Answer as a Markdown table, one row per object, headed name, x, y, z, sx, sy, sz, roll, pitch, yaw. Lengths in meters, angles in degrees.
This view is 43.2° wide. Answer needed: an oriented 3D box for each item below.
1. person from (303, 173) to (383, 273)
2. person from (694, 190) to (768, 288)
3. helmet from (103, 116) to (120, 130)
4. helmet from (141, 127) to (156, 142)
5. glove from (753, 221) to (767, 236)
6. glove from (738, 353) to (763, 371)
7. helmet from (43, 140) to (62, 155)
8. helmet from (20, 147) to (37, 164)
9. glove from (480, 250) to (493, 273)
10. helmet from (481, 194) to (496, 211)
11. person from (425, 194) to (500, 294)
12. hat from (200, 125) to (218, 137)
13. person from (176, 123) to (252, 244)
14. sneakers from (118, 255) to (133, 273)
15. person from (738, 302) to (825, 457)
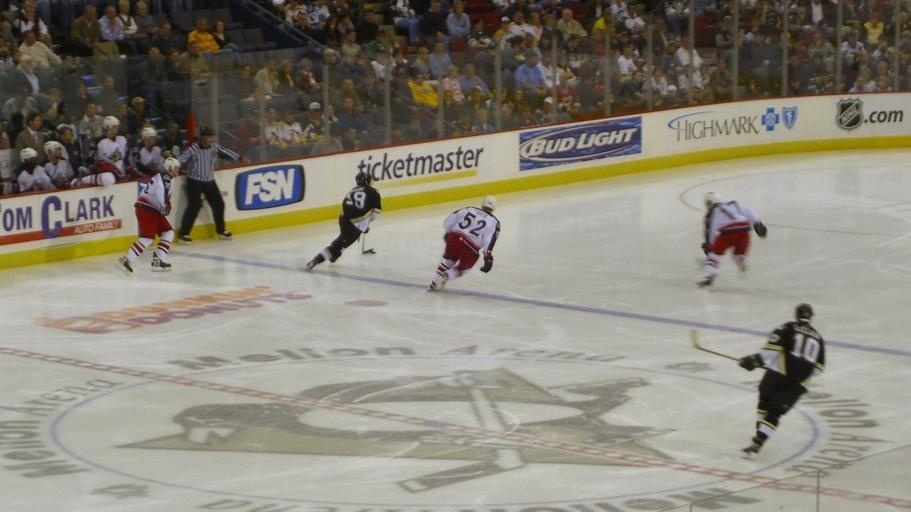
| name | x | y | z | sx | sy | sz | roll | pitch | yaw |
| --- | --- | --- | --- | --- | --- | --- | --- | --- | --- |
| person | -2.216 | -0.706 | 23.198 | 1.423 | 1.839 | 0.566 | -6 | 9 | -7 |
| person | 5.279 | -0.326 | 22.357 | 1.362 | 1.777 | 0.678 | -5 | 9 | -2 |
| helmet | -7.222 | -2.759 | 24.002 | 0.331 | 0.223 | 0.234 | -7 | 27 | 41 |
| helmet | -6.459 | -2.566 | 24.408 | 0.357 | 0.313 | 0.219 | 12 | 49 | -23 |
| glove | 5.919 | -0.504 | 22.257 | 0.292 | 0.338 | 0.115 | 4 | 59 | 29 |
| glove | 4.180 | 1.501 | 16.205 | 0.336 | 0.258 | 0.241 | -2 | 8 | 12 |
| helmet | -8.193 | -2.200 | 23.453 | 0.383 | 0.214 | 0.250 | -14 | 22 | -10 |
| helmet | -8.580 | -2.023 | 23.245 | 0.395 | 0.241 | 0.265 | -23 | 42 | -20 |
| glove | 0.601 | 0.143 | 21.753 | 0.326 | 0.332 | 0.184 | 4 | 11 | 5 |
| helmet | 0.622 | -1.019 | 21.980 | 0.307 | 0.260 | 0.320 | 8 | 17 | 11 |
| person | 0.182 | -0.210 | 21.920 | 1.293 | 1.741 | 0.675 | -2 | 10 | 15 |
| hat | -5.287 | -2.671 | 24.613 | 0.304 | 0.240 | 0.227 | -4 | 26 | -32 |
| person | -5.382 | -1.547 | 25.075 | 1.062 | 2.462 | 1.043 | -2 | 10 | 21 |
| sneakers | -6.563 | 0.189 | 22.916 | 0.205 | 0.346 | 0.270 | -6 | 8 | -6 |
| person | 4.616 | 1.771 | 16.225 | 1.252 | 2.094 | 0.471 | -5 | 10 | 1 |
